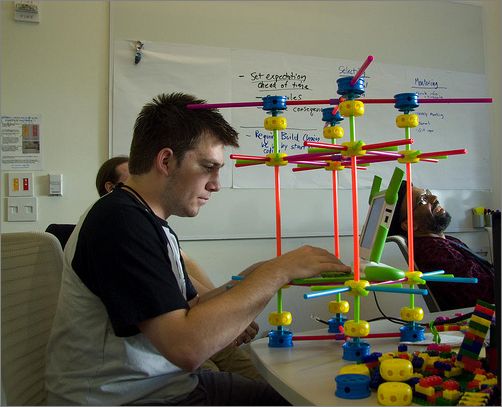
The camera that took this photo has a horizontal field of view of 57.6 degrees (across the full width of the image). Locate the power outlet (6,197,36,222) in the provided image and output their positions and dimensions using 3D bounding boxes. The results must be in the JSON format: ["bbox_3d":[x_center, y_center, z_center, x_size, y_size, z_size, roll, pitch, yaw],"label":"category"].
[{"bbox_3d":[-1.256,0.026,2.473,0.126,0.121,0.014,1,-2,-15],"label":"power outlet"}]

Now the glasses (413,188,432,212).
[{"bbox_3d":[0.948,-0.027,2.532,0.109,0.034,0.110,-32,-4,29],"label":"glasses"}]

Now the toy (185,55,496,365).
[{"bbox_3d":[0.264,0.050,1.444,0.553,0.770,0.951,4,-1,-11],"label":"toy"}]
